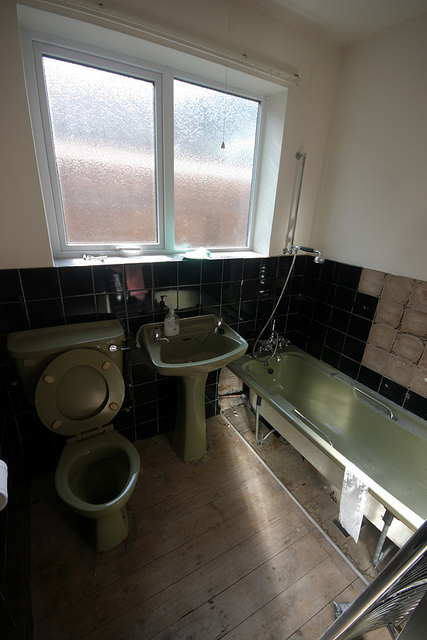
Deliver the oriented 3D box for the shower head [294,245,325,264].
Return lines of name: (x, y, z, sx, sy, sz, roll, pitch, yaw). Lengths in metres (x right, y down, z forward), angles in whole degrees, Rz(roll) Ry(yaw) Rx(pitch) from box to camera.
shower head: (0.652, -0.448, 2.693, 0.059, 0.077, 0.205, -19, 38, -22)

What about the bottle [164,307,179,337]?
bottle: (-0.239, 0.021, 2.230, 0.092, 0.156, 0.092, 3, 35, -2)

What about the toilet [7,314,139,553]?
toilet: (-0.594, 0.536, 1.864, 0.525, 0.848, 0.706, -10, 27, -28)

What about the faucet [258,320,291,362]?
faucet: (0.394, 0.154, 2.780, 0.186, 0.269, 0.218, 7, 12, 7)

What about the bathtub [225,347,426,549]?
bathtub: (0.688, 0.590, 2.332, 0.736, 0.336, 1.317, -13, 29, -32)

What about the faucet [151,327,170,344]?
faucet: (-0.301, 0.079, 2.219, 0.092, 0.112, 0.067, 13, 25, 40)

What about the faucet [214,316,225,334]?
faucet: (0.031, 0.036, 2.417, 0.052, 0.101, 0.097, -3, -1, -3)

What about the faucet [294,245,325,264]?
faucet: (0.652, -0.448, 2.693, 0.056, 0.071, 0.191, -30, 49, -23)
